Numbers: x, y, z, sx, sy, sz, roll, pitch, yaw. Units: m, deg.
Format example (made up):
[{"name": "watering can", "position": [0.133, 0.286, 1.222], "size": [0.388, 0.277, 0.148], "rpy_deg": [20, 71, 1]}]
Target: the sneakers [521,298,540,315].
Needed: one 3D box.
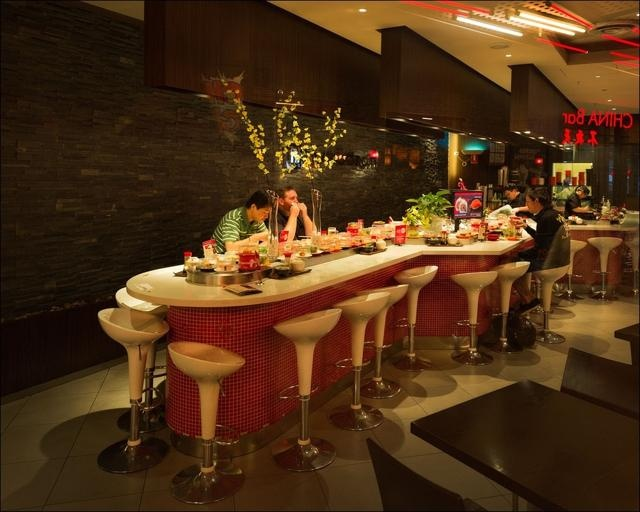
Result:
[{"name": "sneakers", "position": [2.432, 0.572, 5.472], "size": [0.063, 0.076, 0.340], "rpy_deg": [7, 10, 44]}]

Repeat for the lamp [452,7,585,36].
[{"name": "lamp", "position": [1.075, -1.243, 2.526], "size": [0.679, 0.126, 0.330], "rpy_deg": [3, 12, 13]}]

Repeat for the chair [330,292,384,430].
[{"name": "chair", "position": [0.309, 0.778, 3.684], "size": [0.451, 1.017, 0.487], "rpy_deg": [-1, 13, -5]}]

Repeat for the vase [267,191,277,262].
[{"name": "vase", "position": [-0.381, -0.243, 3.875], "size": [0.081, 0.558, 0.141], "rpy_deg": [-1, 13, -7]}]

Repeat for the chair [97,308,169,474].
[{"name": "chair", "position": [-1.255, 0.874, 3.174], "size": [0.519, 0.999, 0.463], "rpy_deg": [0, 13, -2]}]

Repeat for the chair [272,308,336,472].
[{"name": "chair", "position": [-0.066, 0.871, 3.213], "size": [0.404, 1.009, 0.535], "rpy_deg": [6, 14, 23]}]

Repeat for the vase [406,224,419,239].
[{"name": "vase", "position": [1.072, -0.260, 5.479], "size": [0.165, 0.133, 0.133], "rpy_deg": [-1, 7, -9]}]

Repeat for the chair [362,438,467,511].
[{"name": "chair", "position": [0.313, 0.772, 1.594], "size": [0.330, 0.168, 0.133], "rpy_deg": [5, 13, 20]}]

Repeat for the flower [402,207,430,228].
[{"name": "flower", "position": [1.184, -0.476, 5.723], "size": [0.301, 0.184, 0.262], "rpy_deg": [0, 1, 9]}]

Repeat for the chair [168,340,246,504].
[{"name": "chair", "position": [-0.692, 0.982, 2.929], "size": [0.470, 0.893, 0.469], "rpy_deg": [-2, 13, -10]}]
